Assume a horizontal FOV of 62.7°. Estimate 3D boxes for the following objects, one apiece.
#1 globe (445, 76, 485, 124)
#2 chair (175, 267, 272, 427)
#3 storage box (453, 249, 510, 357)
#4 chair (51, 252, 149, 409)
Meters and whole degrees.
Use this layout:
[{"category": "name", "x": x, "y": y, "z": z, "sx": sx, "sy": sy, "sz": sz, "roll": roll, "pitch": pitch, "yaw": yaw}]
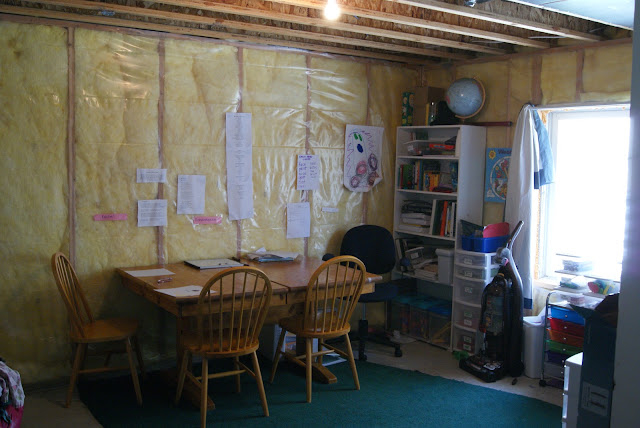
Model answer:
[{"category": "globe", "x": 1.597, "y": -1.250, "z": 5.808, "sx": 0.461, "sy": 0.472, "sz": 0.436, "roll": 16, "pitch": 26, "yaw": 36}, {"category": "chair", "x": -0.814, "y": 0.979, "z": 4.360, "sx": 0.785, "sy": 1.326, "sz": 0.831, "roll": -3, "pitch": 15, "yaw": -17}, {"category": "storage box", "x": 1.577, "y": 0.914, "z": 5.436, "sx": 0.447, "sy": 1.081, "sz": 0.398, "roll": 5, "pitch": 15, "yaw": 14}, {"category": "chair", "x": -1.898, "y": 0.956, "z": 4.591, "sx": 0.774, "sy": 1.130, "sz": 0.644, "roll": 1, "pitch": 3, "yaw": -17}]
